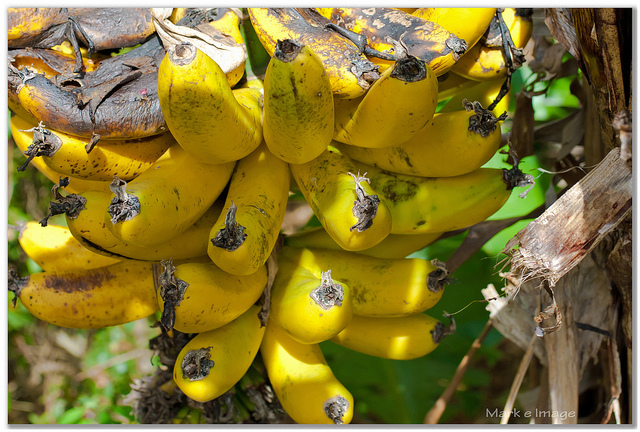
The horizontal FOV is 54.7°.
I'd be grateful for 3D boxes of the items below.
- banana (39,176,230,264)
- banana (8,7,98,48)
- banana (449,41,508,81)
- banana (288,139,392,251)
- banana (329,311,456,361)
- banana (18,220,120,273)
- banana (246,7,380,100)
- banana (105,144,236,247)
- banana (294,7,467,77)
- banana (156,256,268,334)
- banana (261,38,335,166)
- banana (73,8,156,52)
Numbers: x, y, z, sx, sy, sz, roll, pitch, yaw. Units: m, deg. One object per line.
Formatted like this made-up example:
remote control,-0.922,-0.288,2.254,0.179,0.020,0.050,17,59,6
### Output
banana,-0.566,0.019,1.801,0.122,0.204,0.506,36,21,31
banana,-0.786,-0.567,1.866,0.282,0.076,0.102,-17,68,-12
banana,0.464,-0.463,1.825,0.155,0.038,0.095,17,87,12
banana,0.049,-0.066,1.757,0.180,0.135,0.402,-21,44,-11
banana,0.210,0.378,1.952,0.137,0.177,0.509,-3,-1,-39
banana,-0.751,0.091,1.873,0.299,0.085,0.101,15,25,12
banana,-0.033,-0.468,1.746,0.388,0.131,0.196,41,33,8
banana,-0.405,-0.055,1.661,0.089,0.173,0.264,30,47,16
banana,0.156,-0.471,1.679,0.362,0.120,0.103,22,86,11
banana,-0.284,0.223,1.765,0.183,0.207,0.383,9,12,43
banana,-0.072,-0.290,1.647,0.188,0.393,0.148,-15,57,-4
banana,-0.618,-0.560,1.873,0.201,0.053,0.139,-8,85,-7
